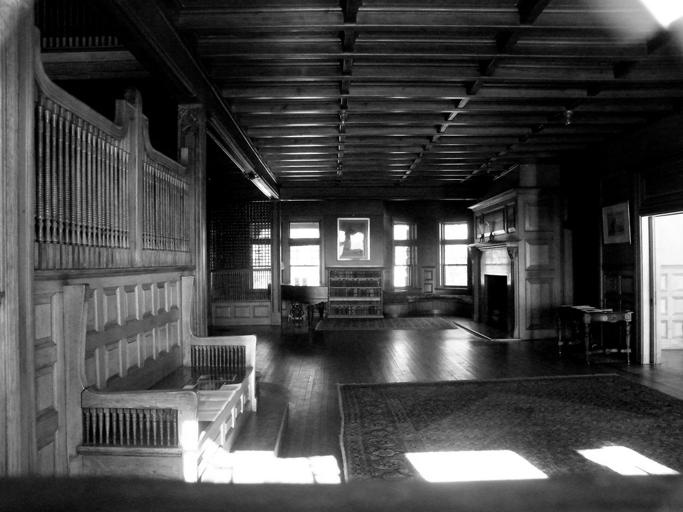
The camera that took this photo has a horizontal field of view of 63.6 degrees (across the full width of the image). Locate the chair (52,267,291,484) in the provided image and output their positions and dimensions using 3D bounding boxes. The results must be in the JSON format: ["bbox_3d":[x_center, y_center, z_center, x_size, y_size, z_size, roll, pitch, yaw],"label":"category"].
[{"bbox_3d":[-1.534,0.993,5.369,0.989,1.682,2.912,-3,0,0],"label":"chair"}]

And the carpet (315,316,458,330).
[{"bbox_3d":[1.049,1.541,12.791,3.094,0.103,2.372,-1,2,-3],"label":"carpet"}]

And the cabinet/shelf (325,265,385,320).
[{"bbox_3d":[0.324,0.936,13.872,1.243,1.181,0.488,0,-7,-1],"label":"cabinet/shelf"}]
